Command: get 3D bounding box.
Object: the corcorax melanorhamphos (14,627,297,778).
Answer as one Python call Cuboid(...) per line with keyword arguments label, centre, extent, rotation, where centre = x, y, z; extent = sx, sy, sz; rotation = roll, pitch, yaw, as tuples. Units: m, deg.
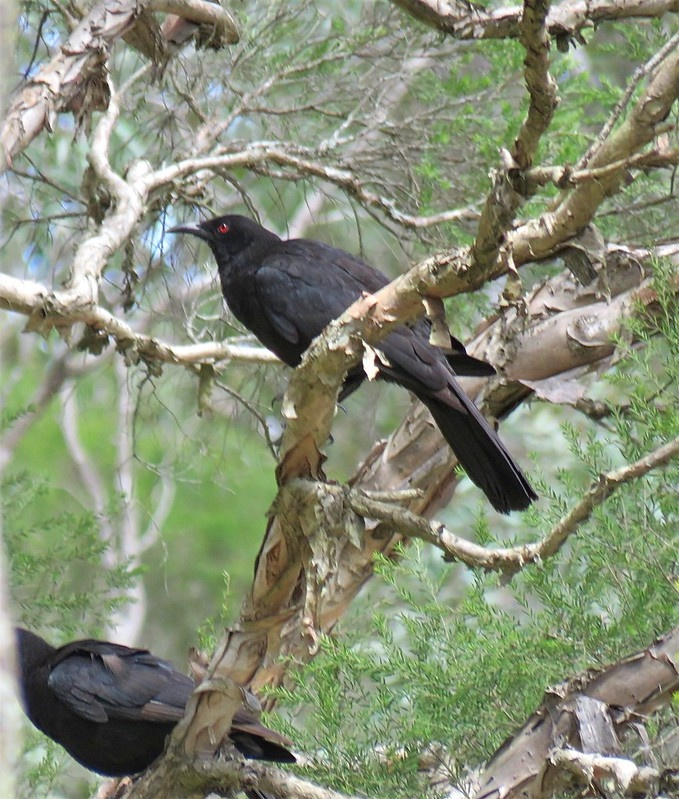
Cuboid(label="corcorax melanorhamphos", centre=(-0.739, 1.054, 4.971), extent=(1.118, 0.568, 0.357), rotation=(-9, -22, 9))
